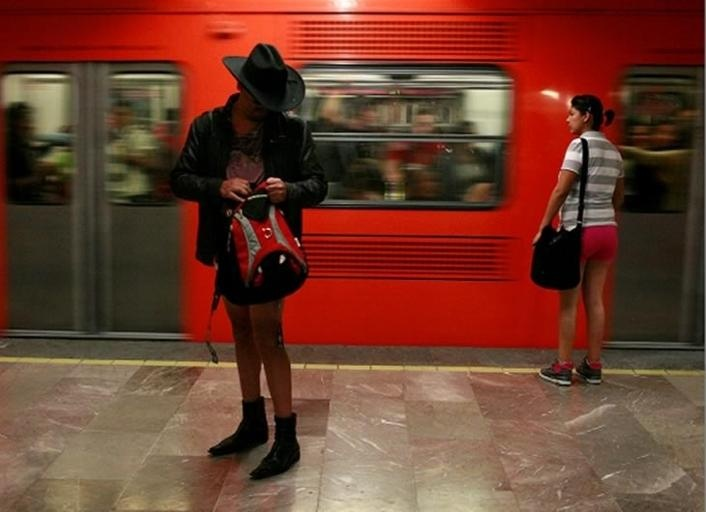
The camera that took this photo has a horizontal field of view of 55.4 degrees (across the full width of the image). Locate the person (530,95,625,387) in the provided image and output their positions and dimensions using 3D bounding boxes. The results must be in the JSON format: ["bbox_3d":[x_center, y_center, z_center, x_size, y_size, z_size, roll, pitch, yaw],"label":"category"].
[{"bbox_3d":[1.797,-0.097,5.293,0.491,2.264,0.695,10,16,36],"label":"person"}]

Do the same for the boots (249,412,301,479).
[{"bbox_3d":[-0.455,1.126,4.007,0.158,0.298,0.419,6,12,34],"label":"boots"}]

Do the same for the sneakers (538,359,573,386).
[{"bbox_3d":[1.646,0.931,5.436,0.126,0.160,0.332,-4,6,-22],"label":"sneakers"}]

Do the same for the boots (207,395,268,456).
[{"bbox_3d":[-0.706,1.080,4.327,0.549,0.374,0.208,-1,1,-29],"label":"boots"}]

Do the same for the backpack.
[{"bbox_3d":[-0.525,-0.038,3.743,0.547,0.712,0.305,0,13,-2],"label":"backpack"}]

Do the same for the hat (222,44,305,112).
[{"bbox_3d":[-0.496,-0.986,3.756,0.448,0.370,0.368,0,13,-4],"label":"hat"}]

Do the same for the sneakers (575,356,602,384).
[{"bbox_3d":[1.931,0.936,5.508,0.108,0.127,0.302,0,4,0],"label":"sneakers"}]
